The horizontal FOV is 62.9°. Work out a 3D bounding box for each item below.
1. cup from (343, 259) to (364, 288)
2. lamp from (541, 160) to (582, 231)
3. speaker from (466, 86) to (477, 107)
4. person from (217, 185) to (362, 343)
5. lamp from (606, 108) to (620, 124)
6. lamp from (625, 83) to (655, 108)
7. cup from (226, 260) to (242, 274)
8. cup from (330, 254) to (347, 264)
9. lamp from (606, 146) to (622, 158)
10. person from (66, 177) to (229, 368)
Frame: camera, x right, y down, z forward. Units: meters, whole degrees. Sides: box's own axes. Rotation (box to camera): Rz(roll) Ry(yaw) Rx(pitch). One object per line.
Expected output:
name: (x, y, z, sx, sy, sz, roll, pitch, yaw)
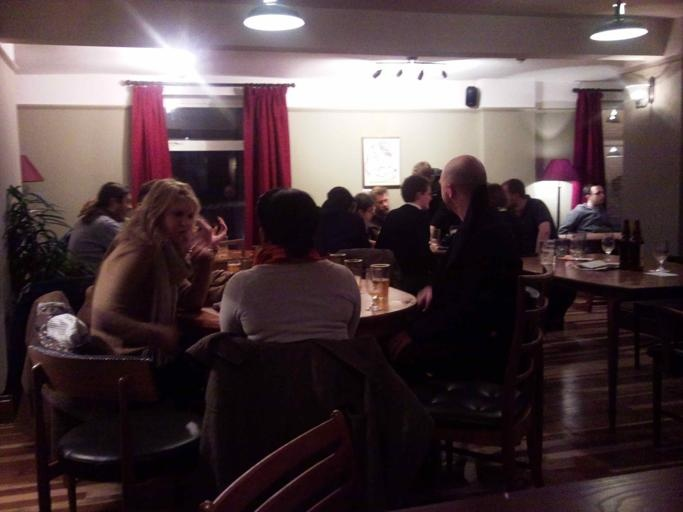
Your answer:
cup: (0.086, 0.112, 3.412, 0.144, 0.228, 0.145, -1, 1, 0)
lamp: (3.319, -0.951, 8.674, 0.555, 1.096, 0.560, -6, 16, -20)
speaker: (1.950, -2.349, 8.312, 0.205, 0.309, 0.157, 0, 9, 13)
person: (-0.227, 0.132, 2.343, 0.537, 0.810, 0.498, -6, 16, -24)
lamp: (4.261, -2.182, 8.731, 0.180, 0.209, 0.135, -6, 9, -26)
lamp: (3.473, -1.848, 6.443, 0.092, 0.252, 0.278, -9, 18, -31)
cup: (-0.668, 0.065, 3.415, 0.079, 0.068, 0.078, 0, -2, 0)
cup: (-0.031, 0.014, 3.435, 0.068, 0.049, 0.068, 0, 3, 0)
lamp: (4.337, -1.658, 8.868, 0.215, 0.200, 0.051, 5, 6, 9)
person: (-1.167, 0.064, 3.409, 0.859, 1.559, 0.717, -1, 0, -10)
